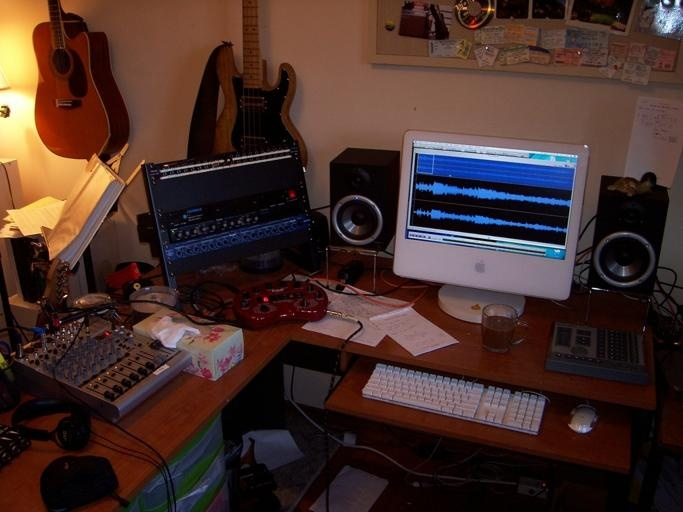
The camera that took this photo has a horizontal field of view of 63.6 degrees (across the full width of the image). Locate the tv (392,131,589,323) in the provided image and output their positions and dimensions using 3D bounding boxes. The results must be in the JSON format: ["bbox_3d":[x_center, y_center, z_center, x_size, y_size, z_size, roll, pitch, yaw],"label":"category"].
[{"bbox_3d":[0.530,-0.097,1.983,0.584,0.618,0.316,11,3,14],"label":"tv"}]

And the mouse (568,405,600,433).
[{"bbox_3d":[0.774,0.514,1.747,0.118,0.048,0.081,-3,27,-3],"label":"mouse"}]

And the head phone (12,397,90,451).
[{"bbox_3d":[-0.799,0.466,1.556,0.173,0.090,0.147,7,33,5],"label":"head phone"}]

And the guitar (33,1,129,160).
[{"bbox_3d":[-1.310,-0.871,2.711,0.430,0.717,0.253,11,27,24],"label":"guitar"}]

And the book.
[{"bbox_3d":[-0.889,-0.153,1.900,0.369,0.090,0.397,-10,56,51],"label":"book"}]
